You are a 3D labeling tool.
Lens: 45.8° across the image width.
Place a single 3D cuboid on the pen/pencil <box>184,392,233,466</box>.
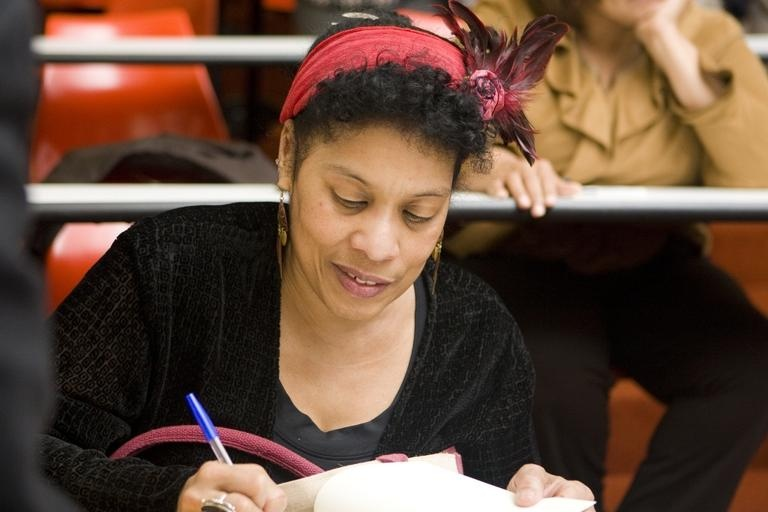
[{"bbox_3d":[-0.386,0.384,1.976,0.026,0.027,0.207,-26,86,-12],"label":"pen/pencil"}]
